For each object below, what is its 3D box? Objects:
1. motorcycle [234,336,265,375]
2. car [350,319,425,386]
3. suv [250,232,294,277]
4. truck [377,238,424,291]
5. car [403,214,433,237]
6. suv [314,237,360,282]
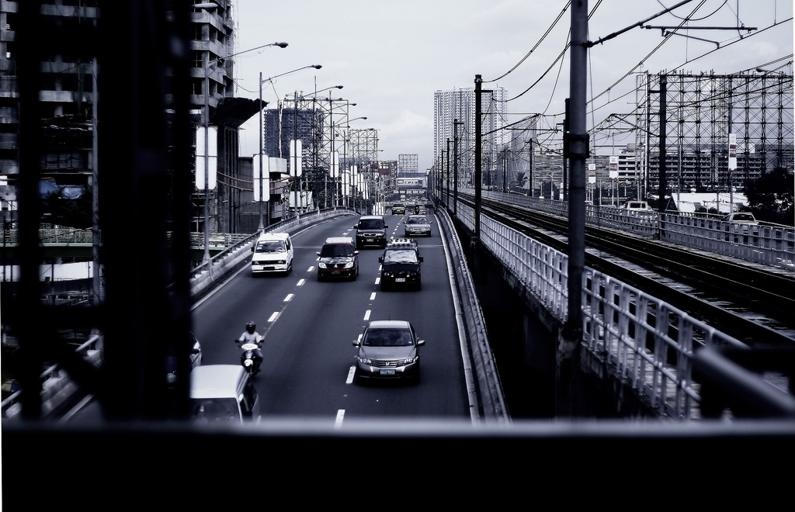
[{"bbox_3d":[-3.901,2.644,20.992,0.789,0.950,1.550,-1,-3,-2],"label":"motorcycle"},{"bbox_3d":[-0.305,2.711,22.681,1.715,1.531,4.140,0,3,-2],"label":"car"},{"bbox_3d":[-6.259,-0.132,39.576,1.437,1.290,2.545,-1,3,-2],"label":"suv"},{"bbox_3d":[0.055,0.302,37.284,2.031,1.966,6.135,0,7,1],"label":"truck"},{"bbox_3d":[1.449,-2.184,59.512,1.841,1.532,2.848,1,2,-1],"label":"car"},{"bbox_3d":[-2.995,0.140,39.071,1.911,1.880,4.067,-1,9,-3],"label":"suv"}]
